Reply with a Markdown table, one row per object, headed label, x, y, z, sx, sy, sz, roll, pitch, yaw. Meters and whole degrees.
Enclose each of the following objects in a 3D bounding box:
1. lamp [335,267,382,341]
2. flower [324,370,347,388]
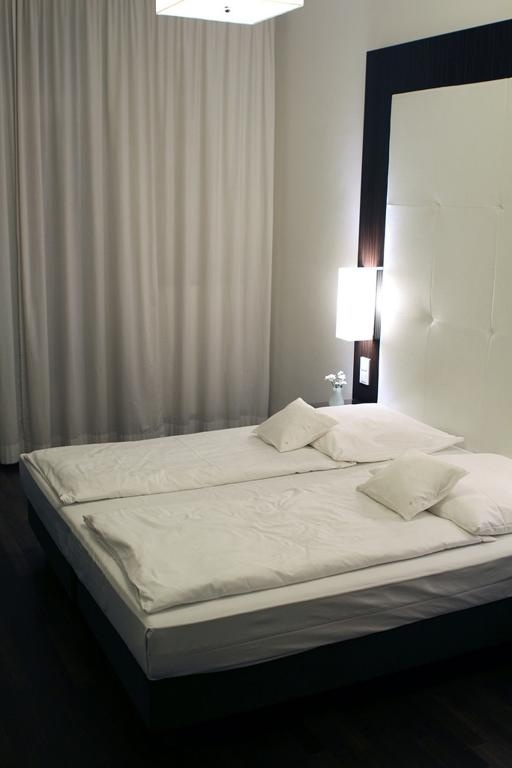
| label | x | y | z | sx | sy | sz | roll | pitch | yaw |
| --- | --- | --- | --- | --- | --- | --- | --- | --- | --- |
| lamp | 0.577 | -0.447 | 3.320 | 0.208 | 0.428 | 0.267 | -3 | 10 | -17 |
| flower | 0.492 | -0.026 | 3.551 | 0.114 | 0.094 | 0.125 | 1 | 5 | 1 |
